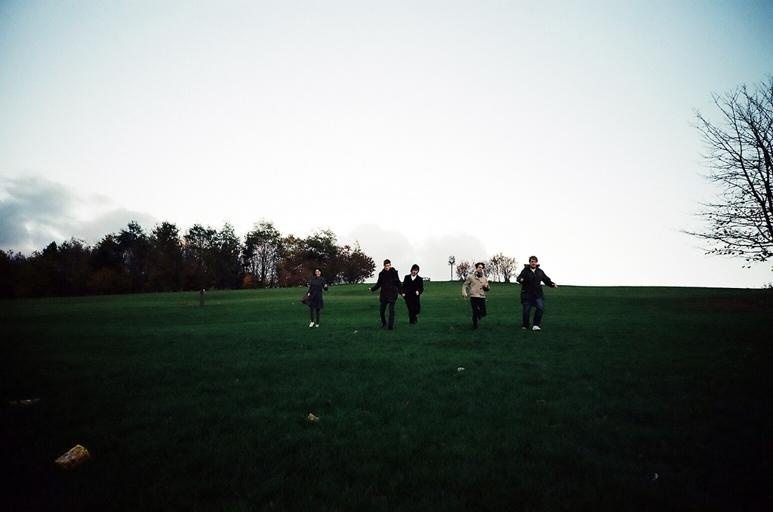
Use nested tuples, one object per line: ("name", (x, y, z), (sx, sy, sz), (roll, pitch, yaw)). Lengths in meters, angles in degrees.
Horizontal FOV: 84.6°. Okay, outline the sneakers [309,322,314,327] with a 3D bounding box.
("sneakers", (-3.408, 3.142, 19.349), (0.135, 0.187, 0.455), (2, 3, -1))
